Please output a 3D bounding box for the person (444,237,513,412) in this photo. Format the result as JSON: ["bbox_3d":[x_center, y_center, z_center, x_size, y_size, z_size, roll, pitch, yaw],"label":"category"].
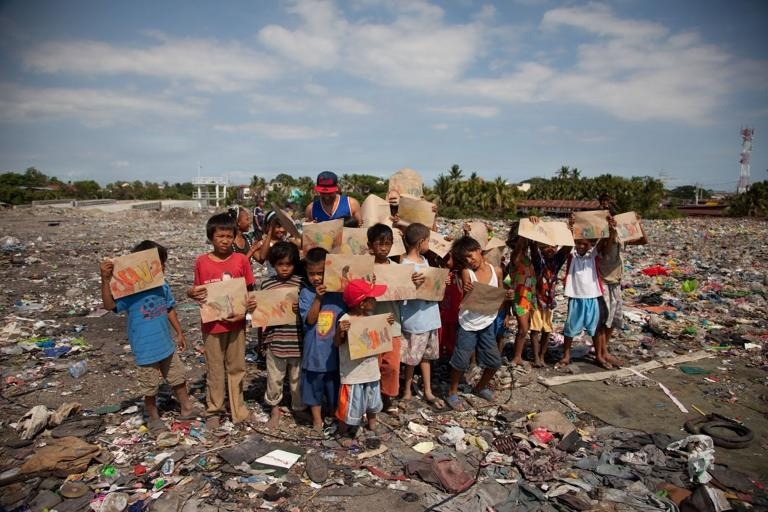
[{"bbox_3d":[1.223,0.876,6.055,0.730,2.281,0.640,0,6,10],"label":"person"}]

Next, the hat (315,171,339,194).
[{"bbox_3d":[-0.804,-1.005,6.146,0.305,0.282,0.287,-2,5,-10],"label":"hat"}]

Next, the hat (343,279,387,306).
[{"bbox_3d":[-0.220,0.398,5.099,0.459,0.202,0.274,-11,31,-3],"label":"hat"}]

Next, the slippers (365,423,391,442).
[{"bbox_3d":[-0.073,2.135,5.416,0.157,0.076,0.230,1,1,-28],"label":"slippers"}]

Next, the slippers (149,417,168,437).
[{"bbox_3d":[-2.705,1.992,5.268,0.205,0.169,0.384,-4,5,-29],"label":"slippers"}]

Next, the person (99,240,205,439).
[{"bbox_3d":[-2.839,0.924,5.375,0.911,2.211,0.676,-4,6,-31],"label":"person"}]

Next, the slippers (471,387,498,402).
[{"bbox_3d":[1.401,1.924,6.189,0.271,0.093,0.143,3,4,37],"label":"slippers"}]

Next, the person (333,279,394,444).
[{"bbox_3d":[-0.270,1.216,5.258,0.607,1.914,0.317,-3,6,-23],"label":"person"}]

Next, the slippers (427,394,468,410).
[{"bbox_3d":[0.845,1.973,5.963,0.544,0.132,0.205,2,-3,7],"label":"slippers"}]

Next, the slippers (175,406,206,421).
[{"bbox_3d":[-2.415,1.926,5.499,0.422,0.151,0.133,2,16,-17],"label":"slippers"}]
